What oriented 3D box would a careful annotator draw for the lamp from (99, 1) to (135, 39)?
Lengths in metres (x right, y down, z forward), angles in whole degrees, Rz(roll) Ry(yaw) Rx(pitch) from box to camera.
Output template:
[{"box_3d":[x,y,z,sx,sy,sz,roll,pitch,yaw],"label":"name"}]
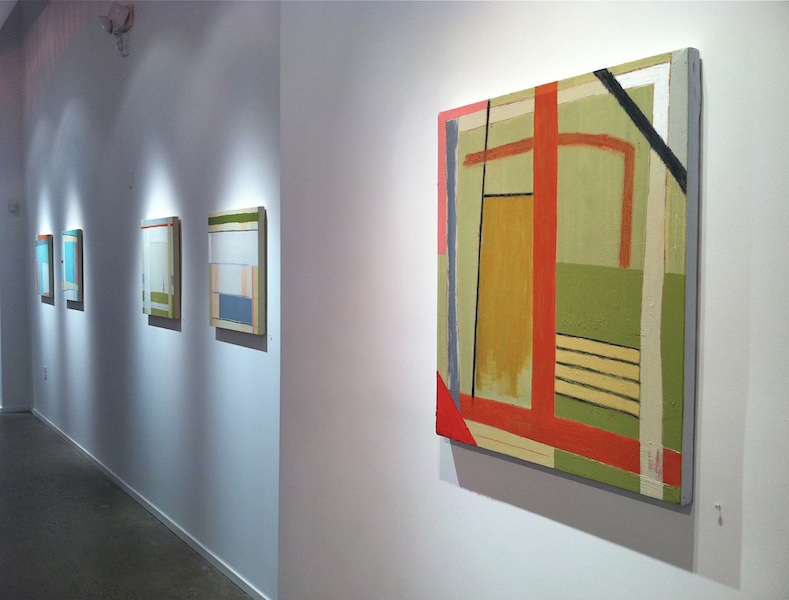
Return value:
[{"box_3d":[-1.450,-1.484,3.608,0.137,0.218,0.054,11,12,24],"label":"lamp"}]
